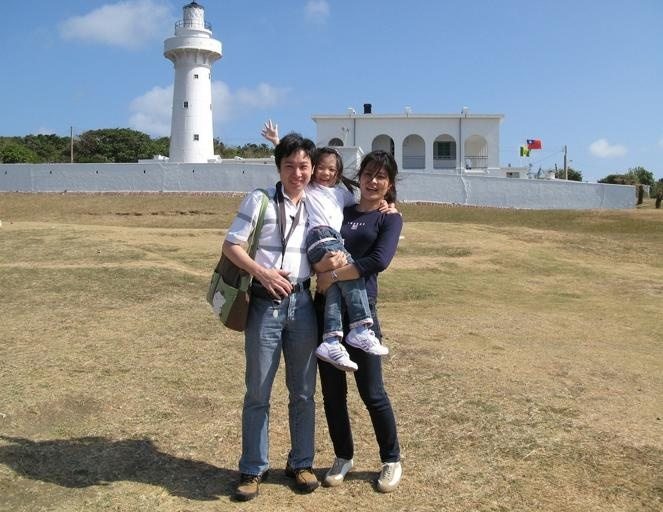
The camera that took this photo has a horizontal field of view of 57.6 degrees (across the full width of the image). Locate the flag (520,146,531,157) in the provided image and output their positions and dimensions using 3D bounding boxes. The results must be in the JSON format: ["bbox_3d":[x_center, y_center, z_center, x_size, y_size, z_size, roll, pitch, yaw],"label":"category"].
[{"bbox_3d":[16.252,-8.782,50.613,0.756,0.771,4.507,5,13,17],"label":"flag"}]

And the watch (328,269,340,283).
[{"bbox_3d":[0.025,0.167,5.002,0.052,0.085,0.082,3,8,11],"label":"watch"}]

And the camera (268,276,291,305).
[{"bbox_3d":[-0.403,0.270,4.904,0.161,0.224,0.088,15,26,-36],"label":"camera"}]

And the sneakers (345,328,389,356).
[{"bbox_3d":[0.273,0.685,5.034,0.383,0.179,0.172,19,26,14],"label":"sneakers"}]

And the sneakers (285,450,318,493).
[{"bbox_3d":[-0.260,1.922,5.288,0.154,0.178,0.385,2,-7,-27],"label":"sneakers"}]

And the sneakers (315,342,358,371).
[{"bbox_3d":[0.046,0.816,4.917,0.344,0.248,0.204,1,12,-1],"label":"sneakers"}]

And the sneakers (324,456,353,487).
[{"bbox_3d":[0.058,1.864,5.250,0.124,0.142,0.348,-9,-1,25],"label":"sneakers"}]

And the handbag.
[{"bbox_3d":[-0.763,0.034,5.023,0.520,1.136,0.380,-1,12,-12],"label":"handbag"}]
